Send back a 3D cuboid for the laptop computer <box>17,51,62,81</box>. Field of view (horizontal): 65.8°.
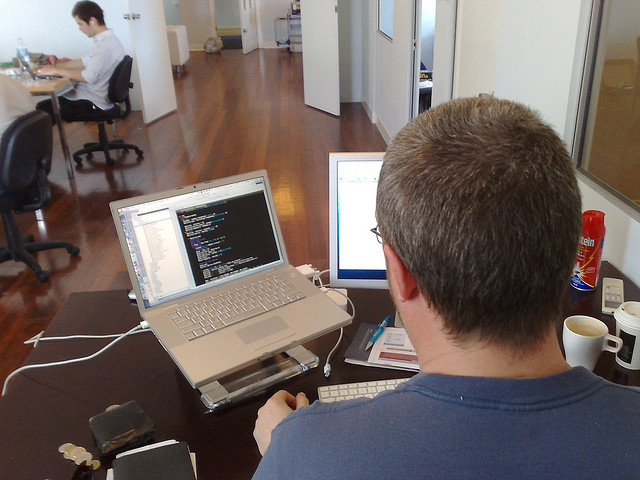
[{"bbox_3d":[-2.824,-1.669,4.911,0.318,0.238,0.371,-2,23,-8],"label":"laptop computer"}]

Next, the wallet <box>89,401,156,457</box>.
[{"bbox_3d":[-0.500,0.478,1.248,0.151,0.065,0.107,-17,29,-25],"label":"wallet"}]

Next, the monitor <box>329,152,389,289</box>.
[{"bbox_3d":[0.170,-0.069,1.692,0.320,0.450,0.033,-4,8,-25],"label":"monitor"}]

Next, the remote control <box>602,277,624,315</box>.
[{"bbox_3d":[0.950,0.183,1.597,0.064,0.014,0.158,8,45,25],"label":"remote control"}]

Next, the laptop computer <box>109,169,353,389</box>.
[{"bbox_3d":[-0.255,0.068,1.458,0.566,0.335,0.553,-13,31,-29],"label":"laptop computer"}]
